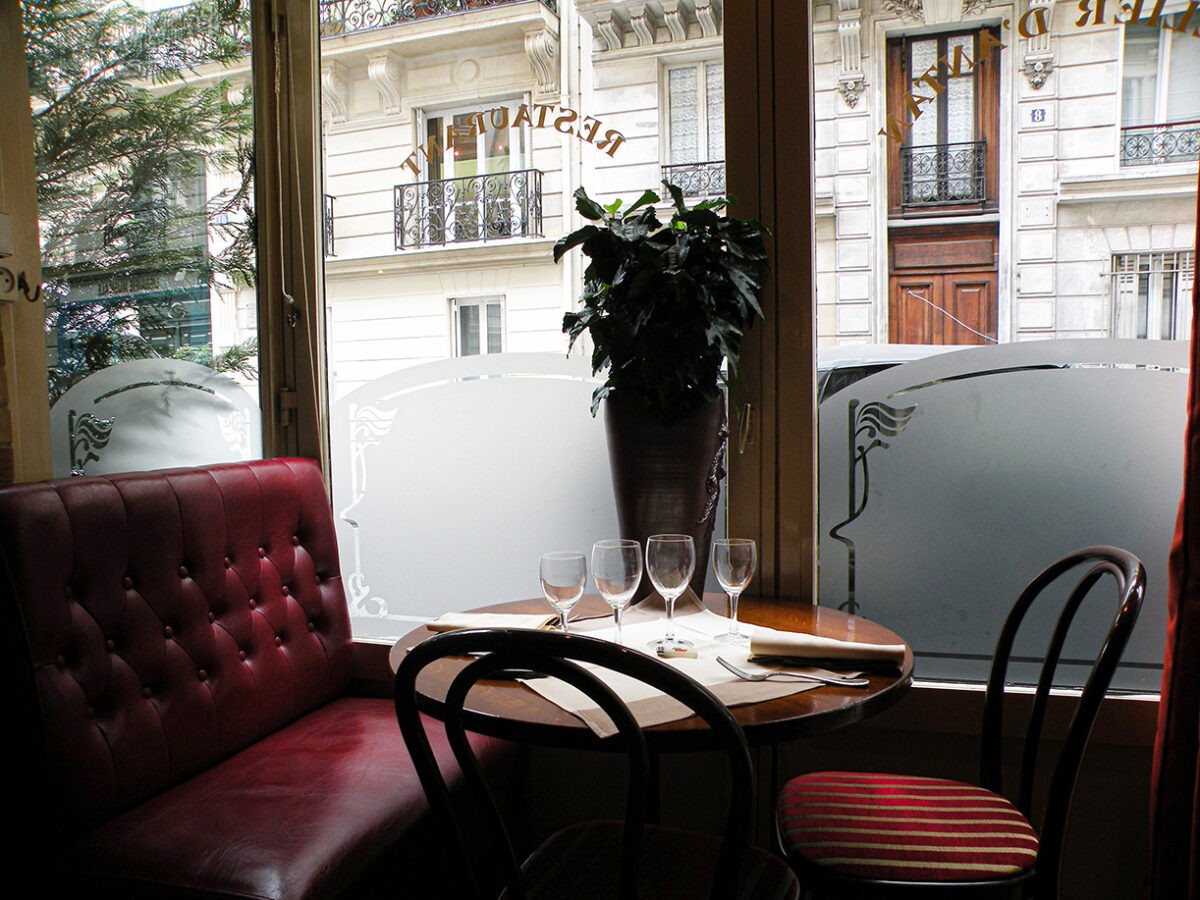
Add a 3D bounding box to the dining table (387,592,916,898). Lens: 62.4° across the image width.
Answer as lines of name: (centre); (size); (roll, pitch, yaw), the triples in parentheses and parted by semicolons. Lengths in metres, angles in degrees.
dining table: (0.059, 0.461, 1.875); (0.601, 0.520, 0.657); (-1, 0, 19)
